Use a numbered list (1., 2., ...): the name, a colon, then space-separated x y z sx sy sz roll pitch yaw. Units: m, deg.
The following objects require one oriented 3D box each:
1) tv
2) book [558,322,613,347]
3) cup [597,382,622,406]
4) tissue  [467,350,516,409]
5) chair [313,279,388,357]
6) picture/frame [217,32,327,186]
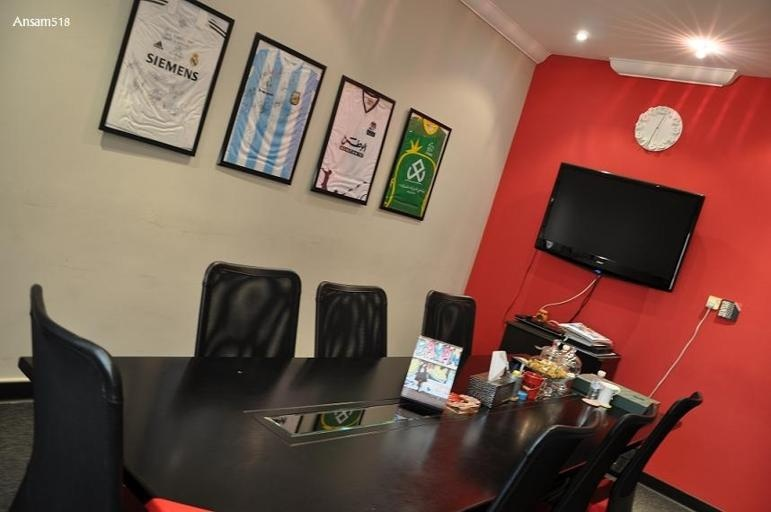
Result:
1. tv: 2.322 -0.278 5.153 1.049 0.799 0.115 23 6 30
2. book: 1.879 0.749 5.060 0.447 0.207 0.307 20 6 33
3. cup: 1.531 0.946 3.695 0.150 0.139 0.126 12 -5 -37
4. tissue : 0.643 0.759 3.249 0.253 0.368 0.184 -6 17 -44
5. chair: -0.230 0.391 3.494 0.414 0.752 0.477 2 -1 -21
6. picture/frame: -0.867 -1.109 4.163 0.674 0.800 0.057 11 6 -42
